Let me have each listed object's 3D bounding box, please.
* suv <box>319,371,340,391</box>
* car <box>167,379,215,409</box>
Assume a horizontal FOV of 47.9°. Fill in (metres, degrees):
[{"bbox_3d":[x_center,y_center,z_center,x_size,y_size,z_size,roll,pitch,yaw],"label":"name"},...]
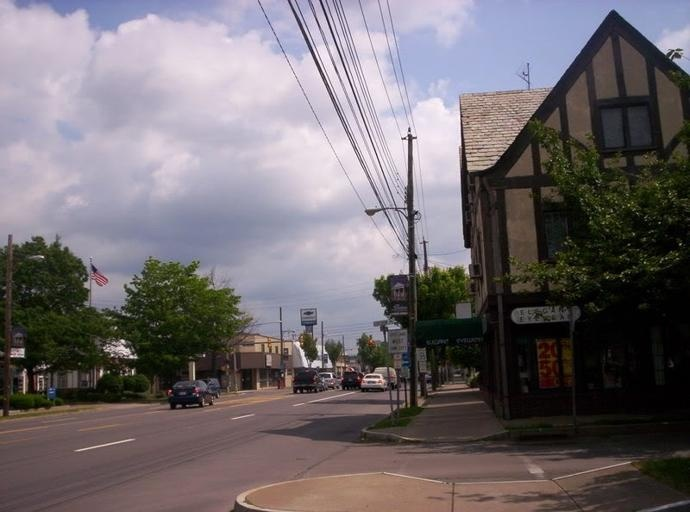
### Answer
[{"bbox_3d":[-1.483,10.948,68.325,1.198,1.124,2.807,0,-1,8],"label":"suv"},{"bbox_3d":[-8.597,7.932,44.741,1.225,1.049,3.078,-1,-5,10],"label":"car"}]
